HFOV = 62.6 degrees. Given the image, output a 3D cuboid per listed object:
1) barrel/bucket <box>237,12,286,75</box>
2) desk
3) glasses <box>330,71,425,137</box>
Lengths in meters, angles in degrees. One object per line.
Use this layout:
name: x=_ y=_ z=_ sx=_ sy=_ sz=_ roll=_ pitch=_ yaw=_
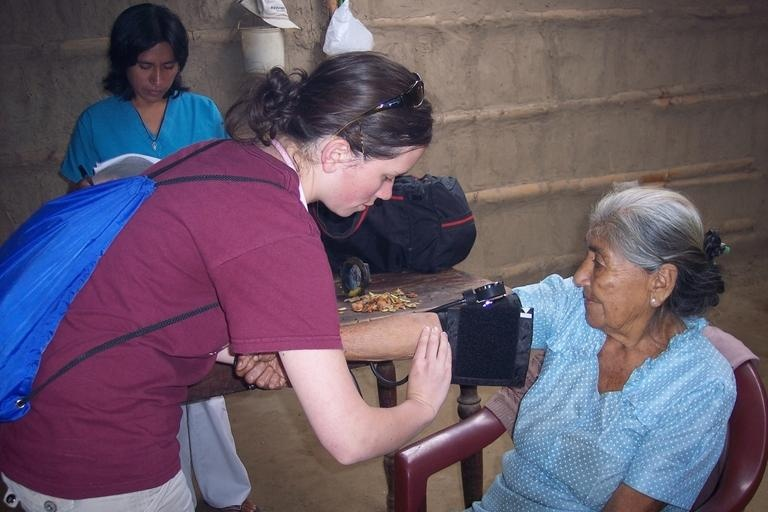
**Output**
barrel/bucket: x=-0.775 y=-1.327 z=4.061 sx=0.255 sy=0.393 sz=0.258 roll=0 pitch=36 yaw=0
desk: x=-0.164 y=0.517 z=2.360 sx=1.077 sy=0.730 sz=0.566 roll=-8 pitch=21 yaw=-17
glasses: x=-0.007 y=-0.440 z=1.815 sx=0.207 sy=0.059 sz=0.205 roll=-31 pitch=11 yaw=5
